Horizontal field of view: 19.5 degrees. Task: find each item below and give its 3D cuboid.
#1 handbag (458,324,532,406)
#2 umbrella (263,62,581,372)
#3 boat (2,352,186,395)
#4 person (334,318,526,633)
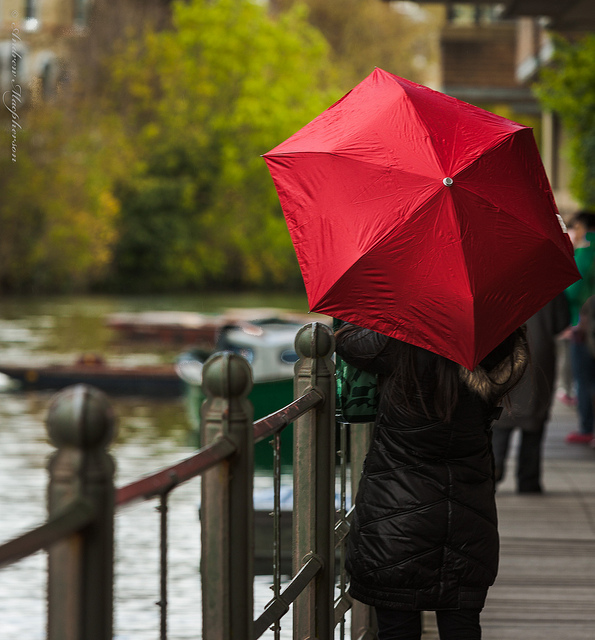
[{"bbox_3d":[0.813,0.174,6.861,0.113,0.295,0.225,40,10,4],"label":"handbag"},{"bbox_3d":[0.507,-0.436,7.000,1.309,1.226,0.425,-1,-16,-25],"label":"umbrella"},{"bbox_3d":[-2.006,0.547,17.350,0.812,0.360,2.193,-3,5,-40],"label":"boat"},{"bbox_3d":[0.523,0.634,6.884,0.735,1.223,0.285,1,4,2],"label":"person"}]
